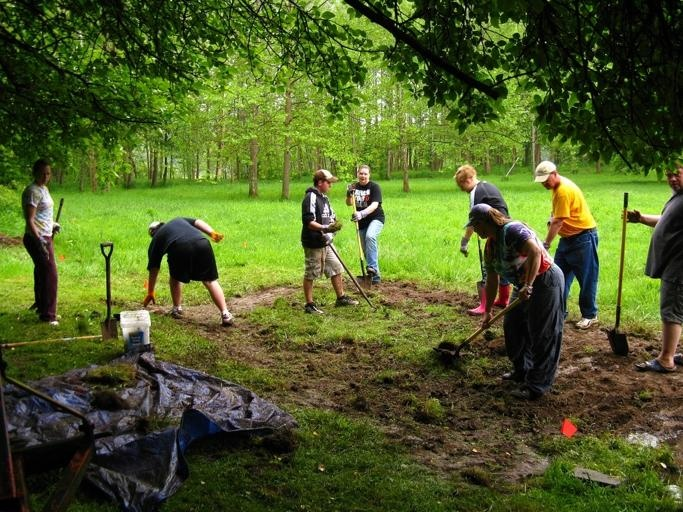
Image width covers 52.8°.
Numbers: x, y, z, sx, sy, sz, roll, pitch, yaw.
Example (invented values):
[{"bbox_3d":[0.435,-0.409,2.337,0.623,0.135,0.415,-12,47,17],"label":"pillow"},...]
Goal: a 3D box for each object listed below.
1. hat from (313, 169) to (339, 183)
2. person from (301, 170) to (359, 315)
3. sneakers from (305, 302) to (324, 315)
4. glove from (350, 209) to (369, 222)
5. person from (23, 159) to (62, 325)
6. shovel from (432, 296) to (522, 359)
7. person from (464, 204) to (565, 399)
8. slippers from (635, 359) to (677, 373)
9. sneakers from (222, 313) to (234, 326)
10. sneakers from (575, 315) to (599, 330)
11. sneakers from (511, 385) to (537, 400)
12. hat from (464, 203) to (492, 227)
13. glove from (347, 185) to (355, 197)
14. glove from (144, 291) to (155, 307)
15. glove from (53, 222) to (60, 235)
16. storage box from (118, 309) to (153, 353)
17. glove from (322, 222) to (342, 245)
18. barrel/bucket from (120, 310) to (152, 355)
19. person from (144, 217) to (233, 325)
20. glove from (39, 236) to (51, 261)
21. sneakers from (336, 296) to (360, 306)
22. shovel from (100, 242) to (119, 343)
[{"bbox_3d":[-0.251,-1.259,10.736,0.325,0.155,0.216,1,15,-17],"label":"hat"},{"bbox_3d":[-0.247,-0.278,11.000,0.821,2.252,0.995,0,4,4],"label":"person"},{"bbox_3d":[-0.412,0.801,10.819,0.332,0.145,0.129,4,8,29],"label":"sneakers"},{"bbox_3d":[0.271,-0.731,12.173,0.197,0.088,0.271,-15,2,40],"label":"glove"},{"bbox_3d":[-4.212,-0.226,9.659,0.474,2.276,0.772,-2,5,-24],"label":"person"},{"bbox_3d":[1.817,1.058,9.483,0.422,0.193,1.817,41,44,20],"label":"shovel"},{"bbox_3d":[2.112,0.512,8.335,1.025,2.300,0.886,2,5,26],"label":"person"},{"bbox_3d":[3.895,1.368,8.583,0.463,0.182,0.168,1,-8,21],"label":"slippers"},{"bbox_3d":[-1.694,0.930,10.171,0.095,0.118,0.258,-1,8,1],"label":"sneakers"},{"bbox_3d":[3.596,0.978,10.110,0.369,0.153,0.133,-5,-3,-25],"label":"sneakers"},{"bbox_3d":[2.150,1.608,8.187,0.273,0.121,0.142,1,15,9],"label":"sneakers"},{"bbox_3d":[1.613,-0.491,8.134,0.276,0.270,0.228,1,4,11],"label":"hat"},{"bbox_3d":[0.151,-1.207,12.599,0.072,0.193,0.145,11,5,-8],"label":"glove"},{"bbox_3d":[-2.771,0.592,9.880,0.108,0.233,0.398,-1,4,-12],"label":"glove"},{"bbox_3d":[-4.134,-0.399,9.972,0.091,0.195,0.084,-8,12,-22],"label":"glove"},{"bbox_3d":[-2.578,0.915,8.579,0.366,0.356,0.537,-1,11,-20],"label":"storage box"},{"bbox_3d":[-0.187,-0.399,10.719,0.245,0.110,0.368,43,-16,-11],"label":"glove"},{"bbox_3d":[-2.505,0.908,8.369,0.355,0.356,0.520,-4,16,-23],"label":"barrel/bucket"},{"bbox_3d":[-2.243,0.225,10.086,1.219,1.604,0.693,-1,4,-11],"label":"person"},{"bbox_3d":[-4.087,-0.118,9.498,0.089,0.239,0.180,-4,7,-19],"label":"glove"},{"bbox_3d":[0.067,0.710,11.106,0.399,0.176,0.144,-1,2,-2],"label":"sneakers"},{"bbox_3d":[-3.063,0.541,9.002,0.294,1.442,0.154,5,7,24],"label":"shovel"}]
